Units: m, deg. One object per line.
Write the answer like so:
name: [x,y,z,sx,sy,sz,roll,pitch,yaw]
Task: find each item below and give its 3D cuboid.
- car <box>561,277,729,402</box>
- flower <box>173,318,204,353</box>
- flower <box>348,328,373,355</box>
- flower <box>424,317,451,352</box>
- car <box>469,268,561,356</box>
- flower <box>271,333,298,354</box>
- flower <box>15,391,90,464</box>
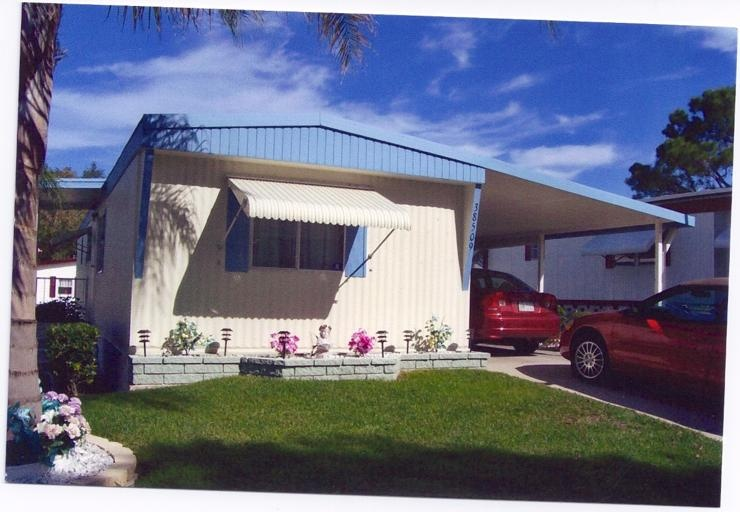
car: [5.287,1.394,12.376,2.580,1.338,1.592,3,-6,44]
flower: [-3.591,1.500,13.193,0.504,0.802,0.664,-7,-2,1]
flower: [-0.192,1.726,13.608,0.445,0.535,0.484,-2,5,-8]
flower: [1.558,1.706,14.818,0.638,0.752,0.347,2,-2,-24]
car: [3.305,1.173,15.606,1.221,1.131,2.869,2,-9,-12]
flower: [-1.707,1.725,13.196,0.443,0.250,0.477,-1,-8,-4]
flower: [-4.483,2.391,9.197,1.017,0.971,0.507,1,-2,8]
